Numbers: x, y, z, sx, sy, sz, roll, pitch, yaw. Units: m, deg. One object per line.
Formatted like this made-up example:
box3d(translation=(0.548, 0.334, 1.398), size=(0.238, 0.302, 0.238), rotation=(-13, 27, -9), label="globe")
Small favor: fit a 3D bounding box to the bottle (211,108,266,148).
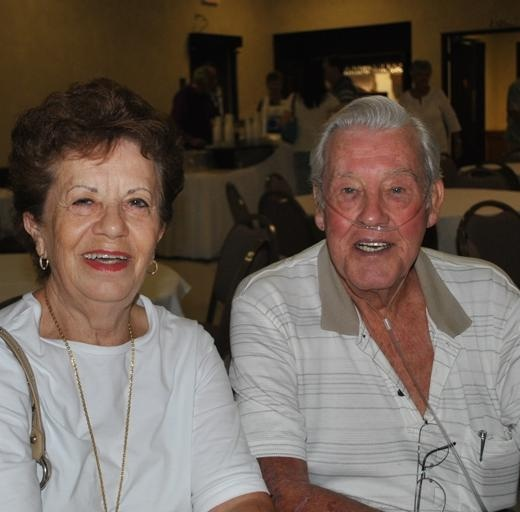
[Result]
box3d(translation=(-0.187, -1.101, 5.309), size=(0.359, 0.248, 0.348), rotation=(-6, 2, 0), label="bottle")
